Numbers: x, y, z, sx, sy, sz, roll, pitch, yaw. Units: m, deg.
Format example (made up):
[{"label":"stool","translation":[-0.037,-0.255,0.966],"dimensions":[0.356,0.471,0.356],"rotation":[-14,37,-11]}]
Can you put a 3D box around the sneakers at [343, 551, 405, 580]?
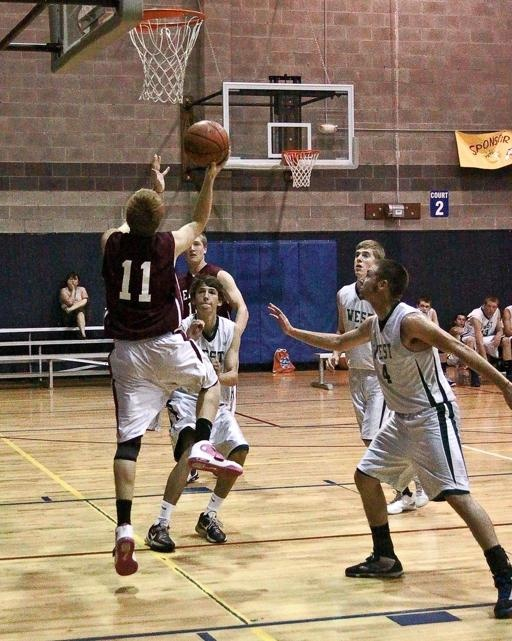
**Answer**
[{"label":"sneakers","translation":[0.493,1.010,3.618],"dimensions":[0.272,0.120,0.089],"rotation":[2,-8,1]}]

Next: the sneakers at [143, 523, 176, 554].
[{"label":"sneakers","translation":[-0.440,0.985,3.944],"dimensions":[0.069,0.083,0.183],"rotation":[6,-8,-26]}]

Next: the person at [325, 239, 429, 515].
[{"label":"person","translation":[0.675,0.462,4.851],"dimensions":[0.579,1.591,0.520],"rotation":[-3,18,-9]}]

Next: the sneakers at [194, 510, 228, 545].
[{"label":"sneakers","translation":[-0.228,0.986,4.200],"dimensions":[0.071,0.093,0.197],"rotation":[1,1,-29]}]

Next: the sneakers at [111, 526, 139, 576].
[{"label":"sneakers","translation":[-0.482,0.825,3.184],"dimensions":[0.076,0.199,0.086],"rotation":[-5,32,-15]}]

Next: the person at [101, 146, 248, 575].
[{"label":"person","translation":[-0.342,0.200,3.490],"dimensions":[0.529,1.611,0.677],"rotation":[-1,2,-10]}]

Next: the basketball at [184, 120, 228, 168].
[{"label":"basketball","translation":[-0.253,-0.793,4.162],"dimensions":[0.231,0.257,0.215],"rotation":[-1,-32,-11]}]
